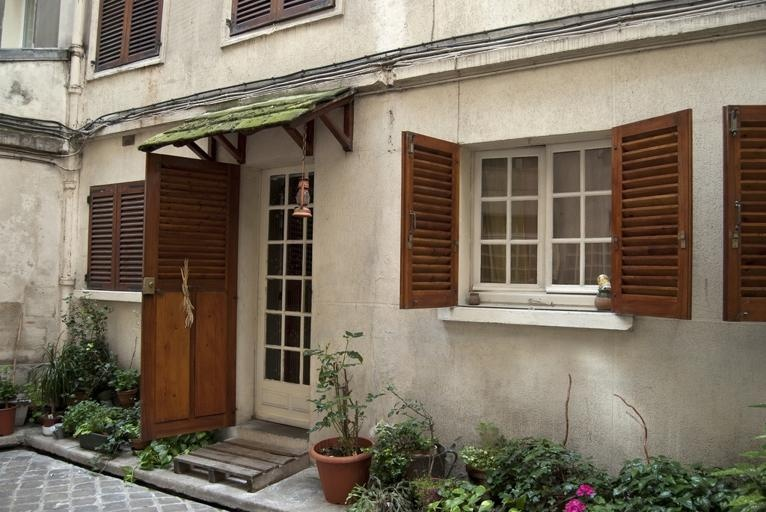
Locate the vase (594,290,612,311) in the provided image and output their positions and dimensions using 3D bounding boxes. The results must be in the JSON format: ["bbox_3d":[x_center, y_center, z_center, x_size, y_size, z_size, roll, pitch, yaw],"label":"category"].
[{"bbox_3d":[2.233,0.450,6.561,0.191,0.176,0.189,0,2,4],"label":"vase"}]

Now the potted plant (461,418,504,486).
[{"bbox_3d":[0.976,2.098,6.708,0.319,0.397,0.389,-5,9,24],"label":"potted plant"}]

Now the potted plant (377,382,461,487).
[{"bbox_3d":[0.305,2.110,6.873,0.794,0.876,0.660,-1,-3,32],"label":"potted plant"}]

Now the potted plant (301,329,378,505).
[{"bbox_3d":[-0.466,1.748,7.209,0.782,1.817,0.922,2,-6,-5],"label":"potted plant"}]

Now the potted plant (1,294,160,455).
[{"bbox_3d":[-4.002,1.492,9.031,2.058,2.731,1.858,3,-10,-26],"label":"potted plant"}]
